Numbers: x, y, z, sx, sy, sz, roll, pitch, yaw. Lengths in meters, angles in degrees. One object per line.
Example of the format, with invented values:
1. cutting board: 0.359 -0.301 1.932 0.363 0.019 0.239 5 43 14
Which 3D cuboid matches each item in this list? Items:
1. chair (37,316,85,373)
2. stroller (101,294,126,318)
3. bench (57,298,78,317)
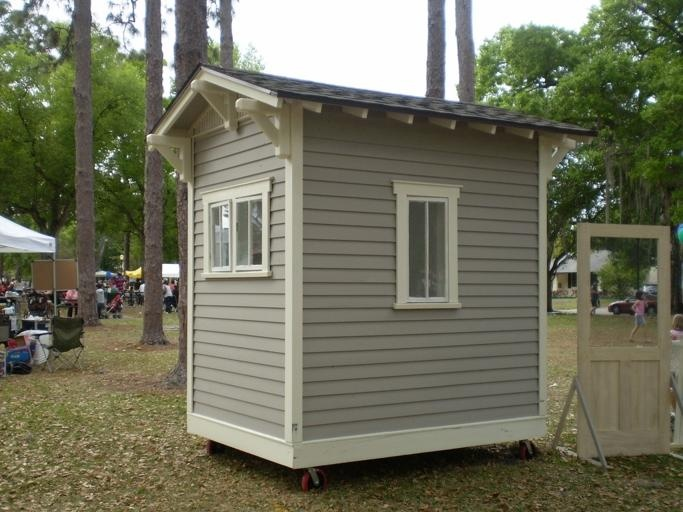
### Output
1. chair: -6.067 1.883 14.819 0.983 1.238 1.092 4 0 -3
2. stroller: -10.000 2.227 29.722 0.766 1.007 1.577 4 -12 -36
3. bench: -10.344 2.111 25.626 0.807 0.840 1.152 2 -6 -17
